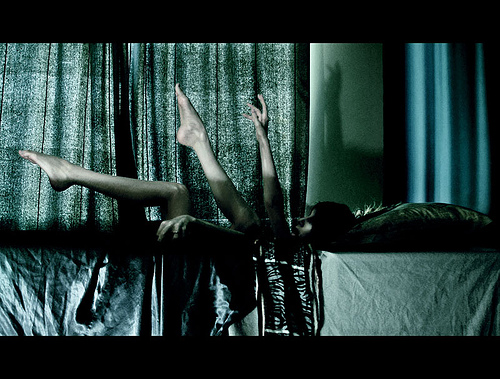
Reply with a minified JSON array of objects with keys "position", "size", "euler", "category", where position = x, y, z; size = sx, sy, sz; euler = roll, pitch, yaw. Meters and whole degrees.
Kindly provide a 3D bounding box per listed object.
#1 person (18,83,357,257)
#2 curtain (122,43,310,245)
[{"position":[-0.306,-0.081,2.761],"size":[1.605,0.786,0.552],"euler":[7,5,15],"category":"person"},{"position":[-0.145,-0.276,2.604],"size":[0.943,1.139,0.074],"euler":[1,-22,-8],"category":"curtain"}]
